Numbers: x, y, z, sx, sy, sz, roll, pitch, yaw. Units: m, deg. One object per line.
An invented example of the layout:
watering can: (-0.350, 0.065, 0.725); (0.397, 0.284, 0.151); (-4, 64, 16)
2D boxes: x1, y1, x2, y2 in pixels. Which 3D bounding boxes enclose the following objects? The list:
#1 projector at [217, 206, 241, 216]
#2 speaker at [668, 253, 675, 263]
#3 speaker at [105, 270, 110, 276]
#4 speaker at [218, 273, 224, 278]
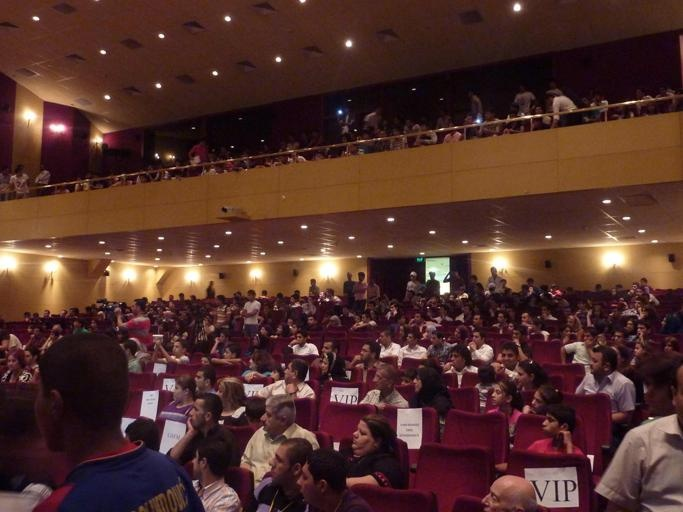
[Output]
projector: (-2.798, -1.142, 13.842); (0.621, 0.218, 0.147); (0, 9, 38)
speaker: (10.603, 0.068, 17.830); (0.218, 0.346, 0.172); (-5, -11, 35)
speaker: (-10.007, 0.756, 23.603); (0.145, 0.225, 0.212); (-1, 2, 22)
speaker: (-5.488, 0.938, 25.371); (0.272, 0.304, 0.207); (-1, -7, 12)
